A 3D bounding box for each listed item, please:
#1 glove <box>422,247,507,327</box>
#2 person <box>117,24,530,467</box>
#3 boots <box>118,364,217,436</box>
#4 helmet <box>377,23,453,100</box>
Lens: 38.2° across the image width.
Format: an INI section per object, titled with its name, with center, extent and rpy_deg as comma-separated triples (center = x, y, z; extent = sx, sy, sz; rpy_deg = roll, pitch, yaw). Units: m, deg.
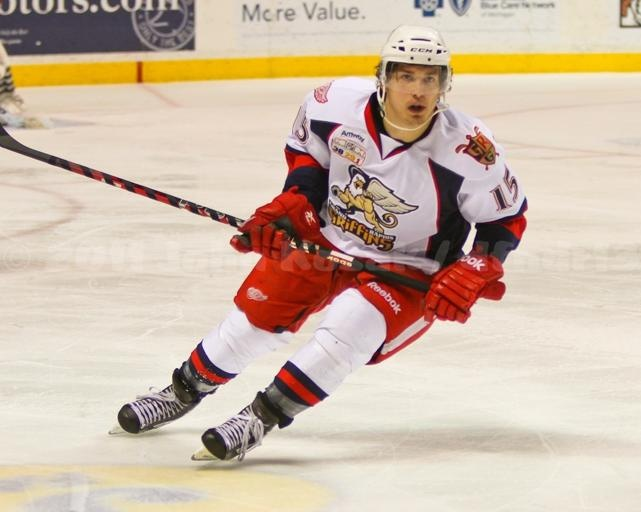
[glove]
center = 0.431, 0.103, 2.822
extent = 0.211, 0.080, 0.235
rpy_deg = 16, 56, 25
[person]
center = 0.042, -0.059, 2.924
extent = 1.186, 1.288, 0.612
rpy_deg = -5, 22, -15
[boots]
center = -0.494, 0.479, 3.013
extent = 0.395, 0.158, 0.102
rpy_deg = -18, 67, -38
[helmet]
center = 0.292, -0.595, 2.890
extent = 0.226, 0.228, 0.151
rpy_deg = 2, 21, 5
